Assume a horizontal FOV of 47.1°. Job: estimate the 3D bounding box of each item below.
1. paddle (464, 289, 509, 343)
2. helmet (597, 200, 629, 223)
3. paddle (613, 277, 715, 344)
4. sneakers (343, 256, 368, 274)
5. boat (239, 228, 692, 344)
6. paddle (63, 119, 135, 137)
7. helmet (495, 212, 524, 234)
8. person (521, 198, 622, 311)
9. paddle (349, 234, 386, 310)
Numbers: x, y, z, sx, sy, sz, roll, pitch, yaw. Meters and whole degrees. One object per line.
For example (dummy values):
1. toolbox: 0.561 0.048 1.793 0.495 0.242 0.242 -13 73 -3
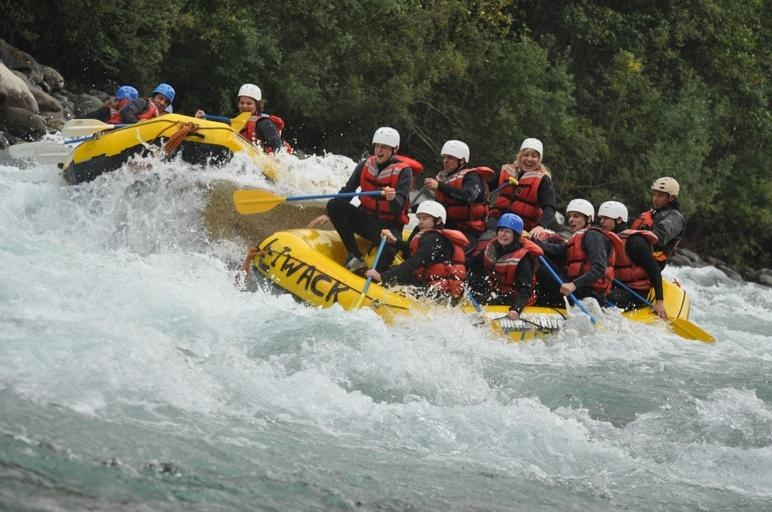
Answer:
1. paddle: 1.387 0.866 12.245 0.177 0.333 0.980 -9 40 -37
2. helmet: 3.434 -0.653 13.385 0.417 0.244 0.312 17 1 -10
3. paddle: 4.270 0.884 13.732 1.616 0.374 0.080 33 17 11
4. sneakers: -0.440 0.146 12.909 0.135 0.171 0.406 37 11 33
5. boat: 0.732 0.600 12.648 5.447 1.267 1.331 15 4 -10
6. paddle: -4.698 -2.029 14.239 0.976 0.355 0.076 3 -31 9
7. helmet: 1.738 -0.462 12.417 0.250 0.354 0.281 4 9 25
8. person: 2.700 -0.018 13.238 1.176 1.650 1.518 -5 5 -39
9. paddle: -0.210 0.220 12.270 0.183 0.929 0.790 16 4 1
